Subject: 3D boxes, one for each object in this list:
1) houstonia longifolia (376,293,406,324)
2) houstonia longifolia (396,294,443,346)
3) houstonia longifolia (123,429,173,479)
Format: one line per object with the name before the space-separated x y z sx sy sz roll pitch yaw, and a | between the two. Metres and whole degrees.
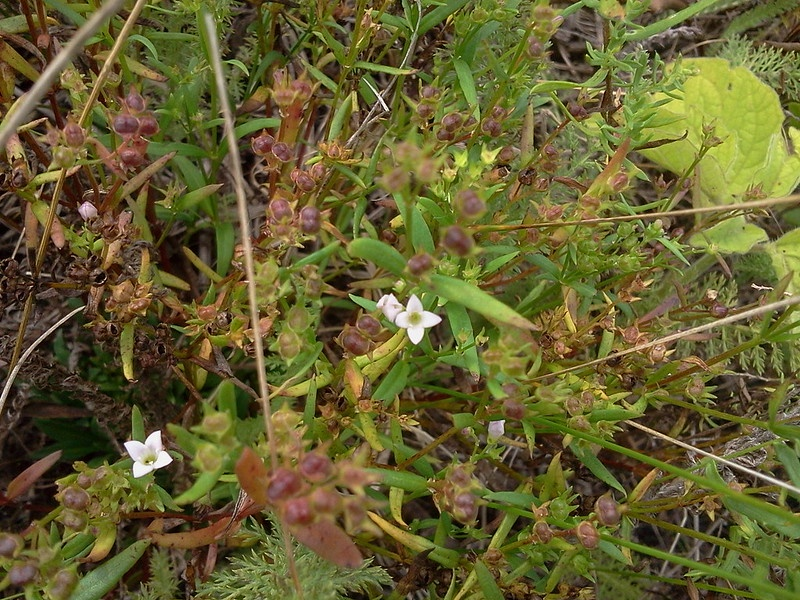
houstonia longifolia | -0.038 0.038 2.941 0.102 0.115 0.303 34 -13 4
houstonia longifolia | 0.062 0.108 3.049 0.180 0.156 0.504 -44 -6 -11
houstonia longifolia | -1.057 0.663 2.907 0.210 0.111 0.206 17 23 -4
